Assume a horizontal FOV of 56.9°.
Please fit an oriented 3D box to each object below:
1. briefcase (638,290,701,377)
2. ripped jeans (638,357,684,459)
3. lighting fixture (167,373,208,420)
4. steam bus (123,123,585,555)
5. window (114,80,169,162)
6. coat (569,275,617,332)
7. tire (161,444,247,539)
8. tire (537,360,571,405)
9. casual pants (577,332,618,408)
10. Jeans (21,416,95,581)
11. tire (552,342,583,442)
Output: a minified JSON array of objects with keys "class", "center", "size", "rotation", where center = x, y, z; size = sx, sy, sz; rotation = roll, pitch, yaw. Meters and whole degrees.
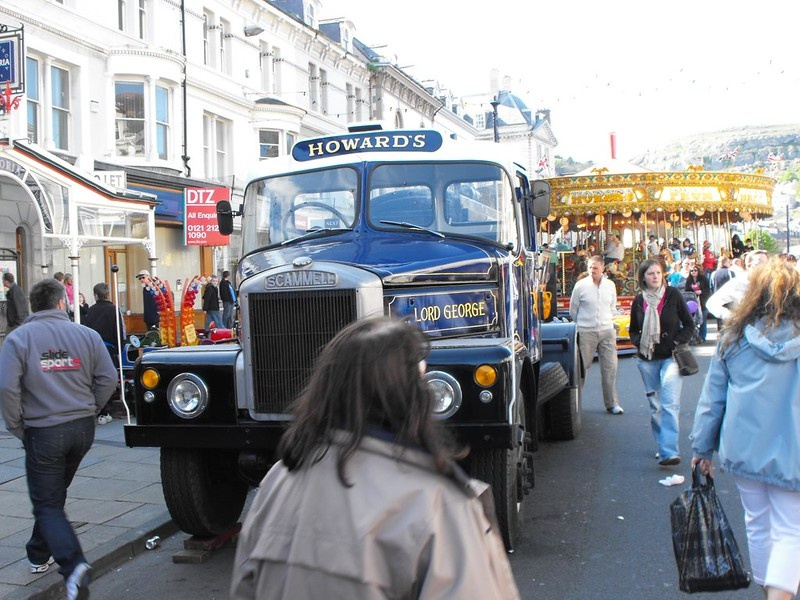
[{"class":"briefcase","center":[2.857,0.436,8.018],"size":[0.381,1.165,0.765],"rotation":[15,-18,-42]},{"class":"ripped jeans","center":[2.826,1.170,7.895],"size":[0.342,1.128,0.556],"rotation":[-1,4,-6]},{"class":"lighting fixture","center":[-1.624,0.745,5.645],"size":[0.255,0.277,0.093],"rotation":[-19,-6,6]},{"class":"steam bus","center":[0.200,0.184,8.233],"size":[3.256,3.557,6.282],"rotation":[-1,3,17]},{"class":"window","center":[-7.735,-5.335,22.003],"size":[0.224,2.410,2.300],"rotation":[6,9,30]},{"class":"coat","center":[2.824,0.069,10.653],"size":[0.610,0.820,0.454],"rotation":[0,0,4]},{"class":"tire","center":[-1.634,1.420,6.222],"size":[0.303,0.938,0.896],"rotation":[-7,-10,18]},{"class":"tire","center":[1.595,0.857,7.779],"size":[0.420,0.150,0.432],"rotation":[-20,-1,14]},{"class":"casual pants","center":[2.894,0.903,10.699],"size":[0.566,1.331,0.383],"rotation":[0,10,23]},{"class":"Jeans","center":[-2.412,1.373,5.258],"size":[0.485,0.950,0.759],"rotation":[-3,4,-28]},{"class":"tire","center":[1.995,1.098,8.837],"size":[0.258,0.872,0.865],"rotation":[2,42,13]}]
